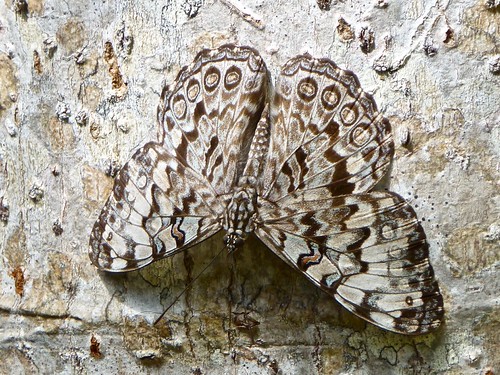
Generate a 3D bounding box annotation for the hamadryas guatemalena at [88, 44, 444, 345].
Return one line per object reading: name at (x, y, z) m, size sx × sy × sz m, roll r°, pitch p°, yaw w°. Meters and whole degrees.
hamadryas guatemalena at (0.176, -0.013, 5.728) m, size 1.601 × 0.378 × 1.361 m, roll 8°, pitch 83°, yaw 6°
